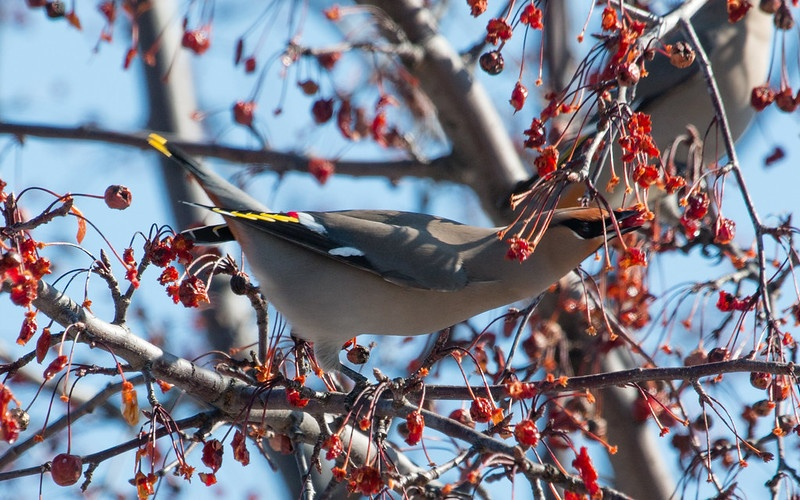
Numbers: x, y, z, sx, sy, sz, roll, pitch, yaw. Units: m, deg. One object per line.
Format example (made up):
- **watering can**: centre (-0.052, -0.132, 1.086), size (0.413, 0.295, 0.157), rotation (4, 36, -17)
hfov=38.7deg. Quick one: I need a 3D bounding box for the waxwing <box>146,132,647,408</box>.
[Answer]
- **waxwing**: centre (-0.202, 0.096, 5.687), size (2.325, 0.739, 1.058), rotation (12, -88, 4)
